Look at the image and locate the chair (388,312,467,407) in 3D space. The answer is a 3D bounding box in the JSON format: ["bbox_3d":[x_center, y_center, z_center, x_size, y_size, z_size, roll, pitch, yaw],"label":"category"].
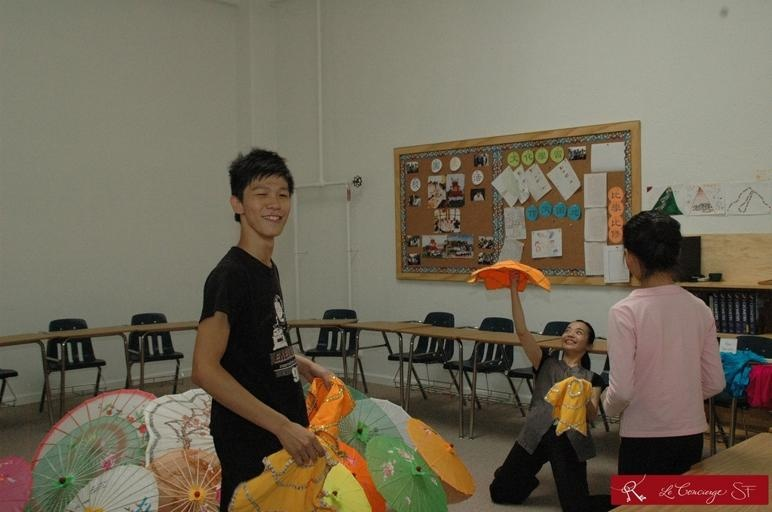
[{"bbox_3d":[0.418,1.156,6.634,0.677,0.968,0.750,3,0,24],"label":"chair"}]

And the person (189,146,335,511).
[{"bbox_3d":[-0.554,0.299,2.342,0.484,1.339,0.480,-3,1,-17],"label":"person"}]

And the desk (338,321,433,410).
[{"bbox_3d":[0.196,1.113,6.672,0.925,1.029,1.123,-2,-3,36],"label":"desk"}]

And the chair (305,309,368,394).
[{"bbox_3d":[-0.585,1.189,7.024,0.693,1.029,0.691,3,-13,-10],"label":"chair"}]

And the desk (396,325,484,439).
[{"bbox_3d":[0.617,1.299,6.258,0.960,1.357,0.962,0,-1,38],"label":"desk"}]

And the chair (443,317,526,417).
[{"bbox_3d":[1.001,1.198,6.295,0.732,0.992,0.757,7,2,37],"label":"chair"}]
